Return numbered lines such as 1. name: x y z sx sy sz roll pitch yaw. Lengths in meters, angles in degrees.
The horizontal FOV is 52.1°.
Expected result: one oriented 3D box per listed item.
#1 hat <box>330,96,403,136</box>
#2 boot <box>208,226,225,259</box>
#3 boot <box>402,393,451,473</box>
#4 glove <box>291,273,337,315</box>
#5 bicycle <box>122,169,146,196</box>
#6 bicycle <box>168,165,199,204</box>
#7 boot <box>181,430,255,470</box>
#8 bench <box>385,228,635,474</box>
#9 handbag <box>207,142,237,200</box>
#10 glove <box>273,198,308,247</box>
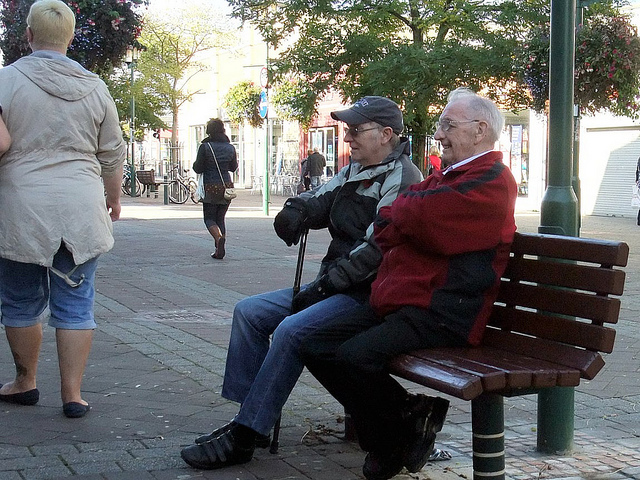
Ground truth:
1. hat: 0.306 -0.749 3.875 0.474 0.201 0.286 5 8 -9
2. boot: -1.782 0.040 11.322 0.186 0.508 0.361 -28 25 -32
3. boot: 0.504 0.970 3.322 0.233 0.475 0.170 14 -14 -32
4. glove: -0.036 0.301 3.630 0.233 0.097 0.230 -25 5 44
5. bicycle: -9.011 -2.777 31.740 0.977 1.221 2.219 0 6 -17
6. bicycle: -5.588 -2.397 26.534 0.813 0.985 1.546 10 -19 -2
7. boot: -0.528 1.079 3.380 0.342 0.136 0.161 4 12 -20
8. bench: 0.899 0.557 3.204 0.720 1.272 1.340 3 -1 -23
9. handbag: -1.719 -1.238 11.709 0.378 1.012 0.657 -2 7 -30
10. glove: -0.165 -0.116 3.961 0.225 0.272 0.121 24 0 42
